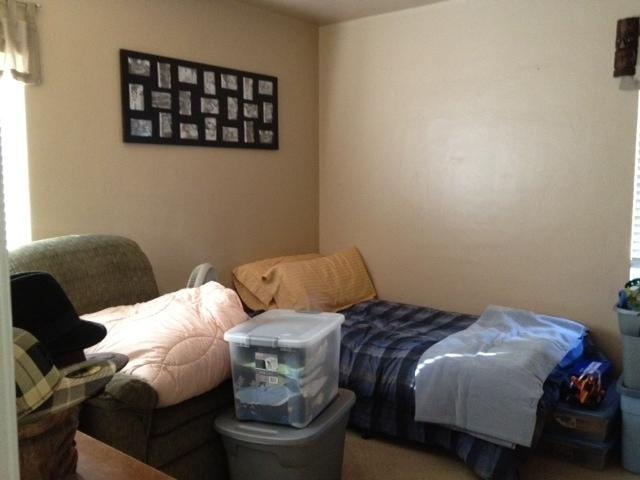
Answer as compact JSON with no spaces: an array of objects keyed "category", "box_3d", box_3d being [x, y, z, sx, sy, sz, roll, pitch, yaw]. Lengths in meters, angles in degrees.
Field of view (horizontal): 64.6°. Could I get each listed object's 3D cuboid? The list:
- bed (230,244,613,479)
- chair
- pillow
[{"category":"bed","box_3d":[0.400,0.688,3.390,1.709,0.797,1.427,5,10,32]},{"category":"chair","box_3d":[-1.027,0.494,2.552,1.198,0.844,0.916,2,7,34]},{"category":"pillow","box_3d":[-0.038,0.338,3.974,0.732,0.250,0.564,0,25,-40]}]
